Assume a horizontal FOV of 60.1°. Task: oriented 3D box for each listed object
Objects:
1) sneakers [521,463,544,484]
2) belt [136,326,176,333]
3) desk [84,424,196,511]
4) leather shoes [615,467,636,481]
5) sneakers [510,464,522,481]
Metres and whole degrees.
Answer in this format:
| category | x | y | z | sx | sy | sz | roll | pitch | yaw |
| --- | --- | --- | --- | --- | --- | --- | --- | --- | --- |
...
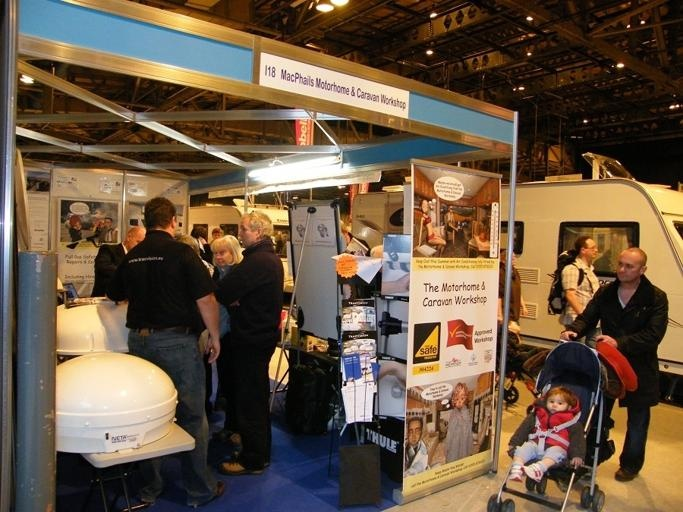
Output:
| category | x | y | z | sx | sy | sz | roll | pitch | yaw |
| --- | --- | --- | --- | --- | --- | --- | --- | --- | --- |
| sneakers | 1.547 | 1.718 | 4.657 | 0.194 | 0.108 | 0.090 | 20 | -6 | -29 |
| belt | -1.408 | 0.562 | 4.451 | 0.268 | 0.048 | 0.047 | 1 | 9 | -13 |
| desk | -1.289 | 1.322 | 3.782 | 0.465 | 0.275 | 0.430 | -2 | 5 | -31 |
| leather shoes | 2.690 | 2.045 | 5.567 | 0.224 | 0.091 | 0.089 | -2 | 4 | -25 |
| sneakers | 1.394 | 1.713 | 4.647 | 0.099 | 0.111 | 0.137 | 6 | 9 | 19 |
